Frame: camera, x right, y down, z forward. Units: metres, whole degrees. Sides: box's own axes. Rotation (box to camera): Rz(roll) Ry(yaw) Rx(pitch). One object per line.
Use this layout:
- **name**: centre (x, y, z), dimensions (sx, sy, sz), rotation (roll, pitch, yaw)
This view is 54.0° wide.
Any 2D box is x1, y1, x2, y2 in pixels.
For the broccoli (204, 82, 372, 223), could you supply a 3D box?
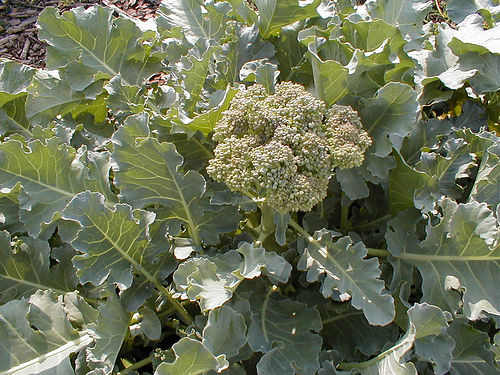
- **broccoli**: centre (0.112, -0.202, 2.043), dimensions (0.510, 0.627, 0.563), rotation (-2, 103, -14)

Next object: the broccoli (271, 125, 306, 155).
- **broccoli**: centre (0.150, -0.185, 1.864), dimensions (0.122, 0.053, 0.078), rotation (22, 66, 11)
